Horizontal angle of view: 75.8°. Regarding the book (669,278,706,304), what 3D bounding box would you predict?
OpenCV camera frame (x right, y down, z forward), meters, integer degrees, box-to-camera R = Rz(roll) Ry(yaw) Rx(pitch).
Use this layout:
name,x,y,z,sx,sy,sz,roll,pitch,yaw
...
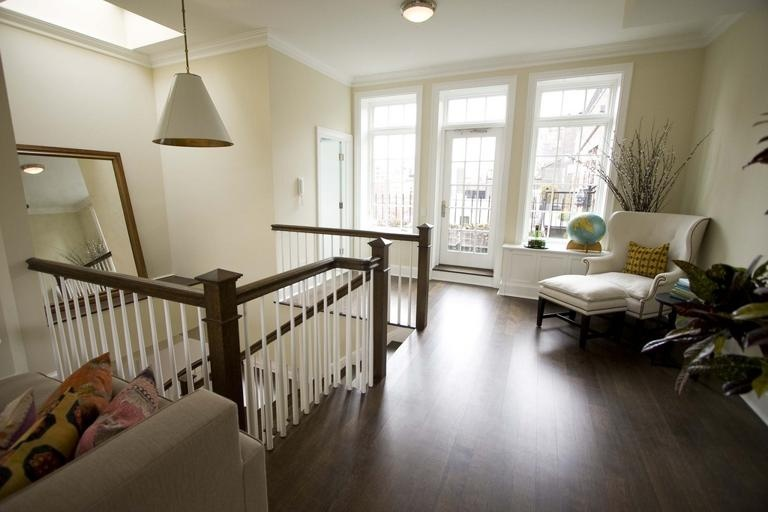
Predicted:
name,x,y,z,sx,sy,sz,roll,pitch,yaw
book,2.810,0.317,4.599,0.132,0.202,0.382,3,11,9

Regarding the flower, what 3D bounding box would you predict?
name,x,y,z,sx,sy,sz,roll,pitch,yaw
flower,3.240,-0.810,5.836,1.553,0.929,1.241,-19,8,-23

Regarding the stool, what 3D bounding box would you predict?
name,x,y,z,sx,sy,sz,roll,pitch,yaw
stool,2.127,0.564,5.339,0.691,0.626,0.748,-4,14,-35

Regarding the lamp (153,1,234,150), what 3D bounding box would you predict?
name,x,y,z,sx,sy,sz,roll,pitch,yaw
lamp,-1.808,-1.796,4.764,0.673,1.442,1.028,-1,12,-11

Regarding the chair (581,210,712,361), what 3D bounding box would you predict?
name,x,y,z,sx,sy,sz,roll,pitch,yaw
chair,2.795,0.142,5.398,1.084,1.269,0.976,-8,16,-34

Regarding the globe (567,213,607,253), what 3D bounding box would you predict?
name,x,y,z,sx,sy,sz,roll,pitch,yaw
globe,2.485,-0.313,6.061,0.430,0.539,0.447,2,13,32

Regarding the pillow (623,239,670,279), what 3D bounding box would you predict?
name,x,y,z,sx,sy,sz,roll,pitch,yaw
pillow,2.875,0.041,5.365,0.167,0.316,0.356,33,-13,-31

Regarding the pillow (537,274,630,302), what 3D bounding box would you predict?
name,x,y,z,sx,sy,sz,roll,pitch,yaw
pillow,2.109,0.321,5.219,0.493,0.176,0.719,-5,13,-33
